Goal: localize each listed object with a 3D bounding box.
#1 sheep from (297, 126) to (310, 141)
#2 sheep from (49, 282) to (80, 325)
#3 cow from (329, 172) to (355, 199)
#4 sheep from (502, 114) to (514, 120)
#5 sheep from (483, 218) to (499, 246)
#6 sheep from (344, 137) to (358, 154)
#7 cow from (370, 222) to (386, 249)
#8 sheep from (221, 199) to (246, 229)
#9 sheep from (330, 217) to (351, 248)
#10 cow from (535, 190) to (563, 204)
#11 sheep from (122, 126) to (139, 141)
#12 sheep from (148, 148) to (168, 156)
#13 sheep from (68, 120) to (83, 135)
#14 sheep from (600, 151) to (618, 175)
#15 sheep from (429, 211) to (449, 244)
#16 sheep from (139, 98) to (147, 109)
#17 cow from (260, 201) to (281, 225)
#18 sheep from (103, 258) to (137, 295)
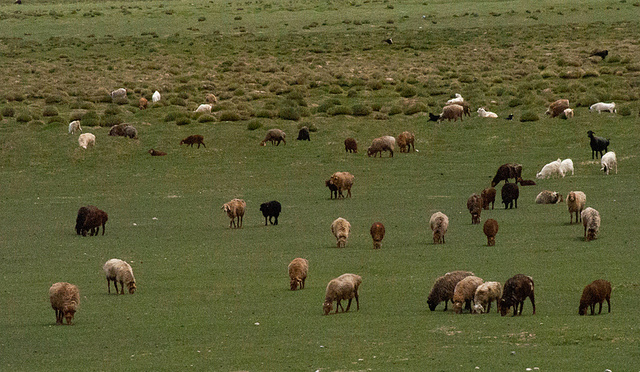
[{"bbox_3d":[-1.841,-5.821,133.527,1.341,1.486,0.557,-2,6,-2],"label":"sheep"},{"bbox_3d":[-21.519,9.911,100.326,2.275,3.426,1.066,-3,6,-6],"label":"sheep"},{"bbox_3d":[2.413,-0.072,119.070,1.935,2.654,3.081,-1,5,14],"label":"cow"},{"bbox_3d":[22.044,-8.050,138.596,0.820,0.573,1.517,-1,4,18],"label":"sheep"},{"bbox_3d":[15.562,4.204,107.962,1.056,2.304,1.278,0,6,20],"label":"sheep"},{"bbox_3d":[3.470,-4.388,130.108,1.220,1.701,0.890,-2,5,-2],"label":"sheep"},{"bbox_3d":[5.364,4.481,108.649,1.138,2.266,2.035,-2,5,3],"label":"cow"},{"bbox_3d":[-8.215,2.611,113.498,1.301,2.673,3.760,-2,-3,22],"label":"sheep"},{"bbox_3d":[1.917,4.273,109.173,1.601,2.538,2.105,-3,5,-1],"label":"sheep"},{"bbox_3d":[22.413,1.127,116.099,2.433,1.016,1.152,-2,1,0],"label":"cow"},{"bbox_3d":[-21.168,-5.954,133.308,1.751,1.493,0.708,-2,6,7],"label":"sheep"},{"bbox_3d":[-17.663,-3.587,129.344,2.085,0.876,0.629,7,7,-3],"label":"sheep"},{"bbox_3d":[-27.453,-6.603,133.586,1.388,1.461,1.785,-3,5,-5],"label":"sheep"},{"bbox_3d":[29.764,-2.392,122.205,1.582,2.176,1.862,-1,5,12],"label":"sheep"},{"bbox_3d":[10.938,3.861,108.914,1.480,2.694,1.673,-2,5,4],"label":"sheep"},{"bbox_3d":[-21.290,-9.936,143.191,0.913,1.287,1.410,-3,5,-9],"label":"sheep"},{"bbox_3d":[-4.694,2.544,113.705,1.871,2.217,1.305,-3,5,-3],"label":"cow"},{"bbox_3d":[-17.342,7.885,103.162,2.664,2.928,1.370,0,6,24],"label":"sheep"}]
